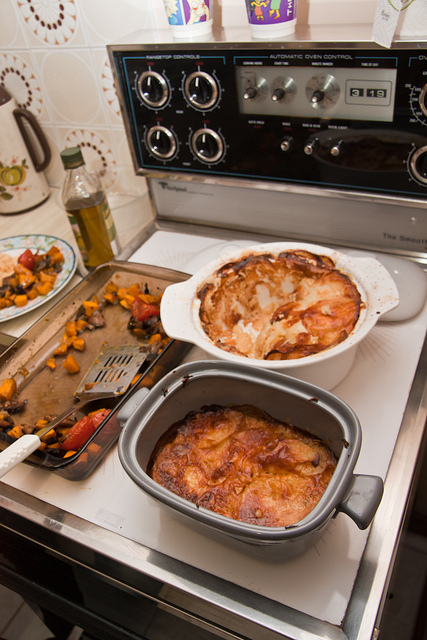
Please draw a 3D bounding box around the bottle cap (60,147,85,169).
[{"bbox_3d":[-0.283,-0.329,0.935,0.041,0.032,0.043,-6,43,2],"label":"bottle cap"}]

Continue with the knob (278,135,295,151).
[{"bbox_3d":[0.125,-0.300,0.797,0.023,0.023,0.008,11,14,32],"label":"knob"}]

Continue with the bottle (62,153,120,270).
[{"bbox_3d":[-0.271,-0.235,1.001,0.092,0.258,0.092,-2,45,2],"label":"bottle"}]

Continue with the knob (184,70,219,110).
[{"bbox_3d":[-0.023,-0.401,0.813,0.052,0.053,0.014,2,38,36],"label":"knob"}]

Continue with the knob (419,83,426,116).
[{"bbox_3d":[0.294,-0.309,0.656,0.009,0.036,0.007,2,37,24],"label":"knob"}]

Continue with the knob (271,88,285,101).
[{"bbox_3d":[0.103,-0.358,0.742,0.014,0.019,0.018,15,52,16],"label":"knob"}]

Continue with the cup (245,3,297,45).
[{"bbox_3d":[0.090,-0.458,0.722,0.087,0.064,0.087,-4,45,4],"label":"cup"}]

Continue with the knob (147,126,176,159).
[{"bbox_3d":[-0.104,-0.352,0.924,0.051,0.052,0.014,5,39,29],"label":"knob"}]

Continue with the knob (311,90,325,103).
[{"bbox_3d":[0.160,-0.342,0.714,0.013,0.020,0.020,13,37,12],"label":"knob"}]

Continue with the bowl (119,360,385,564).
[{"bbox_3d":[0.040,0.157,0.521,0.263,0.104,0.194,18,58,31],"label":"bowl"}]

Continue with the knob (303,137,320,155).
[{"bbox_3d":[0.163,-0.290,0.776,0.025,0.024,0.026,12,34,16],"label":"knob"}]
